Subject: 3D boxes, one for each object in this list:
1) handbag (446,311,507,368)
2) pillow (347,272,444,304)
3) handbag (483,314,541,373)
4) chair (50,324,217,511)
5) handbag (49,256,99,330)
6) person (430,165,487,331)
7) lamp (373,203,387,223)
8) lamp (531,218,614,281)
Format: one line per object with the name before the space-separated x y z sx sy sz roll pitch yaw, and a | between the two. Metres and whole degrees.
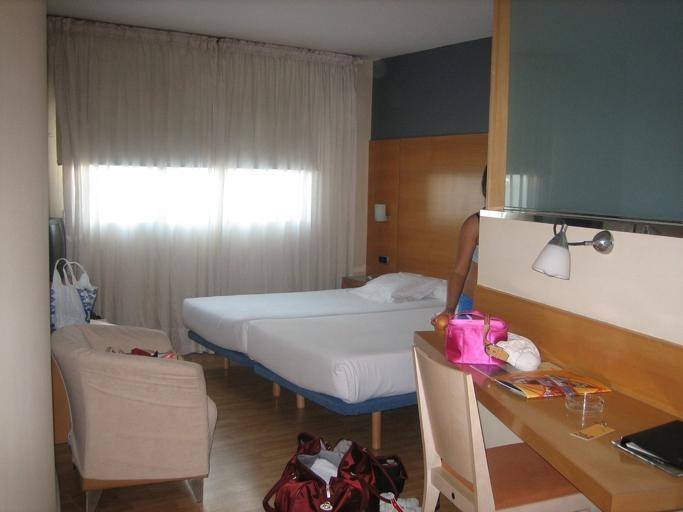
handbag | 0.658 0.387 2.393 0.298 0.238 0.167 -2 -3 45
pillow | 0.628 0.324 5.074 0.430 0.122 0.431 -9 12 -44
handbag | 0.756 0.395 2.291 0.226 0.088 0.229 0 19 -29
chair | -1.140 0.836 3.096 0.887 0.995 1.089 -2 8 -23
handbag | -2.000 0.286 3.849 0.252 0.491 0.341 9 -8 -4
person | 0.701 -0.062 3.046 0.268 0.875 0.744 2 8 15
lamp | 0.440 -0.504 6.268 0.116 0.230 0.248 -5 9 -30
lamp | 0.968 -0.026 2.169 0.311 0.258 0.127 -1 3 -11
